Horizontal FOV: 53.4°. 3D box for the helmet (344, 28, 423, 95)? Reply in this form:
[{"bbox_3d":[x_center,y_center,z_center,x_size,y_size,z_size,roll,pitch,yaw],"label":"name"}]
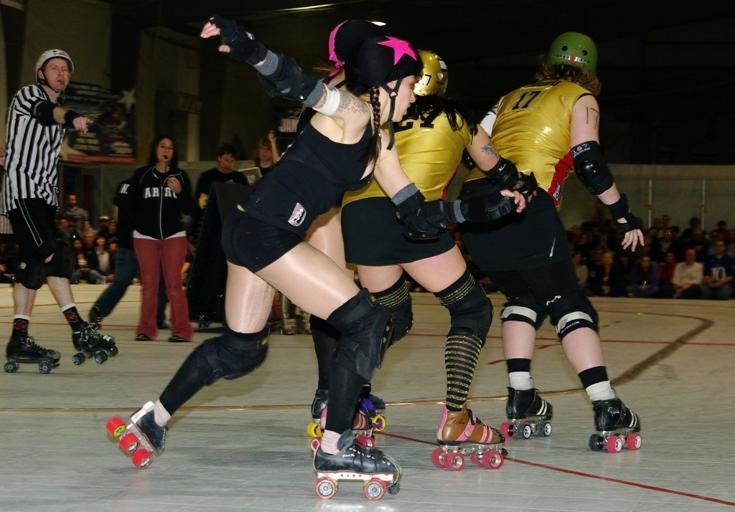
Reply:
[{"bbox_3d":[0.040,-0.861,3.273,0.325,0.228,0.230,13,-3,-23],"label":"helmet"}]

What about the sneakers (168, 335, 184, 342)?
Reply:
[{"bbox_3d":[-1.840,0.805,7.032,0.167,0.063,0.057,1,1,-5],"label":"sneakers"}]

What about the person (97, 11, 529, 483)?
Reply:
[{"bbox_3d":[-0.290,-0.069,3.225,1.241,2.108,0.508,4,2,-9],"label":"person"}]

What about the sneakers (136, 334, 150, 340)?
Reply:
[{"bbox_3d":[-2.192,0.795,7.097,0.155,0.060,0.054,0,-1,9],"label":"sneakers"}]

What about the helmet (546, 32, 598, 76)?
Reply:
[{"bbox_3d":[1.168,-1.187,4.262,0.300,0.211,0.264,7,7,16],"label":"helmet"}]
